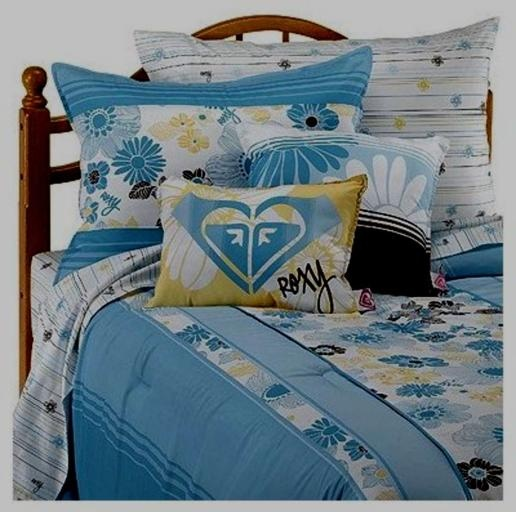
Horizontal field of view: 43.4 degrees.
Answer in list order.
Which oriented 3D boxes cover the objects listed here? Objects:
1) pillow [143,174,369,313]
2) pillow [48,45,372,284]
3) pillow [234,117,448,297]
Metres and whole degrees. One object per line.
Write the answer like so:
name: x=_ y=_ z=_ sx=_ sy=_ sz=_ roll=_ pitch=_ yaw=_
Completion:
pillow: x=0.018 y=-0.027 z=1.596 sx=0.609 sy=0.313 sz=0.151 roll=2 pitch=0 yaw=24
pillow: x=-0.112 y=-0.260 z=1.816 sx=0.975 sy=0.482 sz=0.250 roll=-6 pitch=-1 yaw=-5
pillow: x=0.300 y=-0.107 z=1.783 sx=0.612 sy=0.443 sz=0.162 roll=1 pitch=-13 yaw=-8
